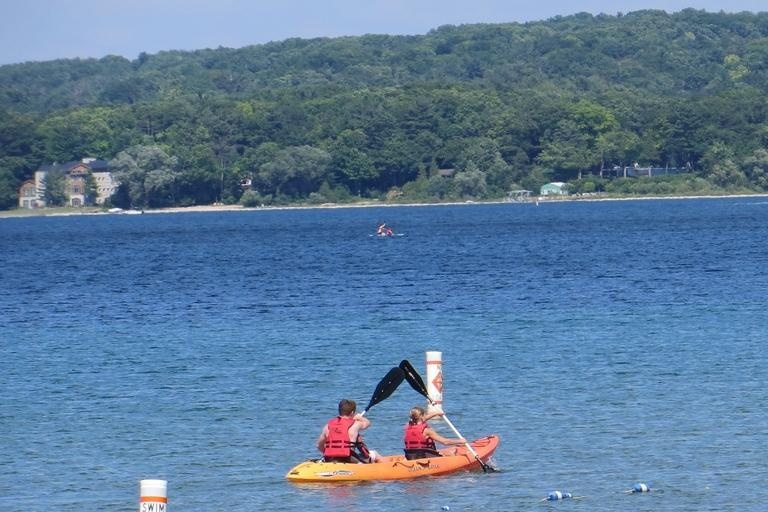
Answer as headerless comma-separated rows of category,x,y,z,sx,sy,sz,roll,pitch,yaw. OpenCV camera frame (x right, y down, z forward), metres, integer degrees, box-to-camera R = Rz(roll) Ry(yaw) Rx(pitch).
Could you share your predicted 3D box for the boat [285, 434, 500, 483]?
boat,7.140,39.806,363.502,51.081,8.020,12.562,-2,8,-6
